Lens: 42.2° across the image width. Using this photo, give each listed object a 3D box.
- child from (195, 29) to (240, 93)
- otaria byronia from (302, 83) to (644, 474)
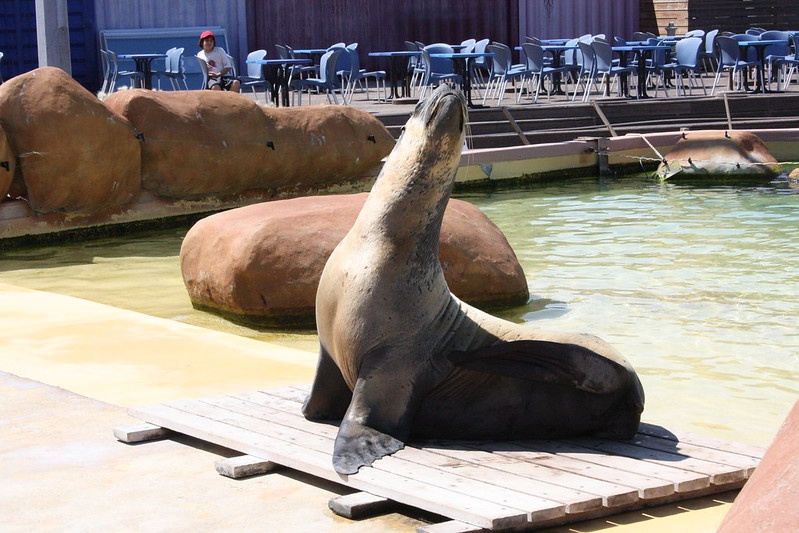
[{"bbox_3d":[-2.734,-3.012,15.440,0.574,0.920,1.401,-5,7,-9],"label":"child"},{"bbox_3d":[0.237,0.007,4.834,1.446,1.681,0.593,-4,9,-8],"label":"otaria byronia"}]
